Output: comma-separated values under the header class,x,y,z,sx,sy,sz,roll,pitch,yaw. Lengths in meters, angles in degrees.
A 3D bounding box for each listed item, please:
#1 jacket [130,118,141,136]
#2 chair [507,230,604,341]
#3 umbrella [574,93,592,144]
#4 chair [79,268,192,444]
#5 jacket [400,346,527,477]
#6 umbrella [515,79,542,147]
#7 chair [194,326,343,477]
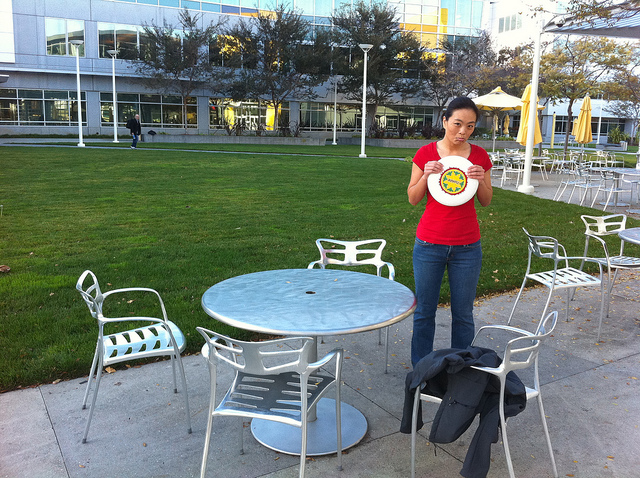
class,x,y,z,sx,sy,sz,roll,pitch,yaw
jacket,-10.299,-6.257,28.766,0.463,0.897,1.119,-7,16,-23
chair,3.074,0.636,6.750,0.895,1.555,0.932,-7,11,-4
umbrella,10.601,-4.783,20.738,0.577,1.836,1.247,6,15,26
chair,-1.783,1.172,4.990,0.954,1.472,0.863,-5,16,-21
jacket,0.994,1.171,3.908,0.799,0.913,0.822,6,-4,-24
umbrella,7.243,-4.299,17.902,0.595,2.024,0.712,-8,12,-27
chair,-0.397,1.329,4.022,0.843,1.282,0.858,3,11,17
